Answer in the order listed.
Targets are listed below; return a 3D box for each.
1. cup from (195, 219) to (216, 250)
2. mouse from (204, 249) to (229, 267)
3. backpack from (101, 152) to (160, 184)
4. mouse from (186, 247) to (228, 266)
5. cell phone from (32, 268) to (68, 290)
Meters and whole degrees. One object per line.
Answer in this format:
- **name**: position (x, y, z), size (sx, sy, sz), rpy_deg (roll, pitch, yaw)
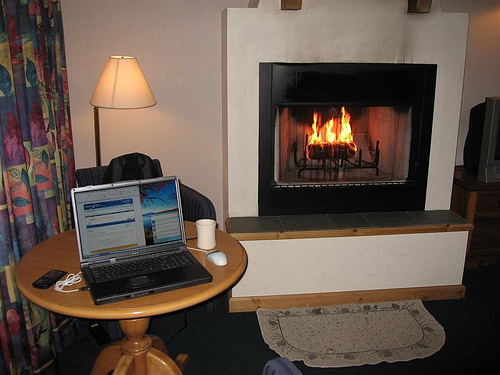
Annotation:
- **cup**: position (-0.222, 0.239, 2.162), size (0.131, 0.139, 0.121), rpy_deg (2, 20, -1)
- **mouse**: position (-0.156, 0.337, 1.987), size (0.106, 0.060, 0.093), rpy_deg (-3, 12, -5)
- **backpack**: position (-0.775, -0.128, 2.650), size (0.338, 0.168, 0.099), rpy_deg (-5, 12, -16)
- **mouse**: position (-0.177, 0.332, 1.990), size (0.150, 0.031, 0.044), rpy_deg (10, 21, 34)
- **cell phone**: position (-0.891, 0.405, 1.846), size (0.093, 0.042, 0.148), rpy_deg (2, 12, 21)
